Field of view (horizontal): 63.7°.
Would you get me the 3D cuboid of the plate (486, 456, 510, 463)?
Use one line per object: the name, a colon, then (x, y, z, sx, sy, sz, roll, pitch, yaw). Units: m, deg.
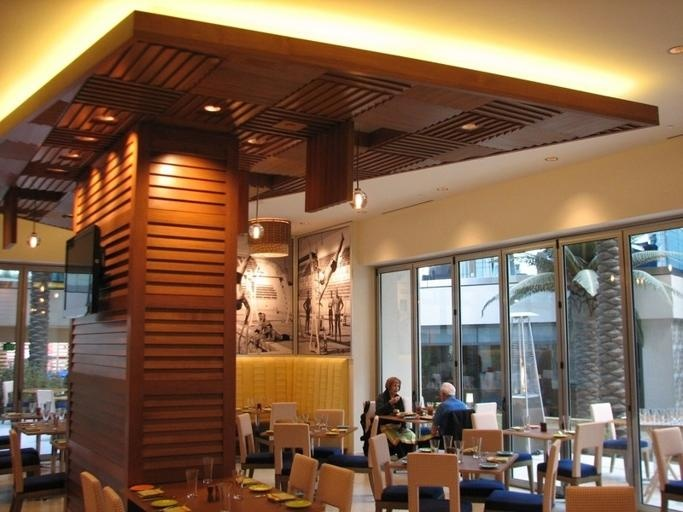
plate: (1.644, 2.156, 5.801, 0.219, 0.027, 0.244, -3, -12, 14)

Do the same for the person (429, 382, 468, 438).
person: (1.488, 2.119, 7.558, 0.464, 0.689, 0.588, -3, -13, 14)

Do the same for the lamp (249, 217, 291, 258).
lamp: (-1.106, -0.271, 8.516, 0.598, 0.453, 0.596, 5, -7, -45)

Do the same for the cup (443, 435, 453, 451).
cup: (1.120, 1.971, 5.756, 0.086, 0.160, 0.240, -3, -13, 13)

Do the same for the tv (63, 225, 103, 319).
tv: (-2.506, 0.175, 5.385, 0.145, 1.178, 1.013, 8, -13, -36)
